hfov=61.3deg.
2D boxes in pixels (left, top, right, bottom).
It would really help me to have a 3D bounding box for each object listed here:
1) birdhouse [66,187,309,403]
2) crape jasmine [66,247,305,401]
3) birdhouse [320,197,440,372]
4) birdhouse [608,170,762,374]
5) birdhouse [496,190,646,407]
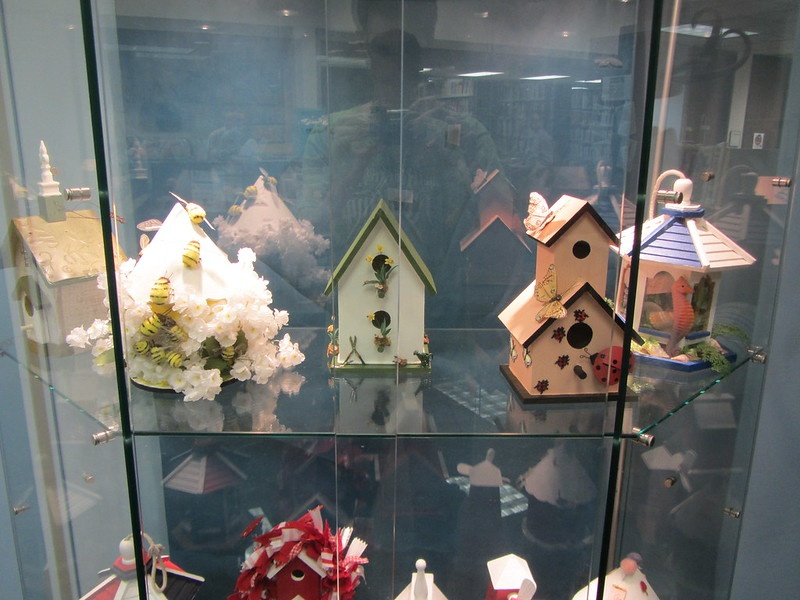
[{"bbox_3d":[-0.464,0.018,1.611,0.412,0.311,0.391,2,9,16],"label":"birdhouse"},{"bbox_3d":[-0.446,0.085,1.521,0.376,0.180,0.383,-1,36,-15],"label":"crape jasmine"},{"bbox_3d":[-0.058,-0.031,1.634,0.312,0.372,0.312,-1,1,-27],"label":"birdhouse"},{"bbox_3d":[0.639,-0.085,1.563,0.299,0.410,0.284,-1,16,-18],"label":"birdhouse"},{"bbox_3d":[0.406,-0.008,1.569,0.369,0.435,0.322,-5,14,-21],"label":"birdhouse"}]
